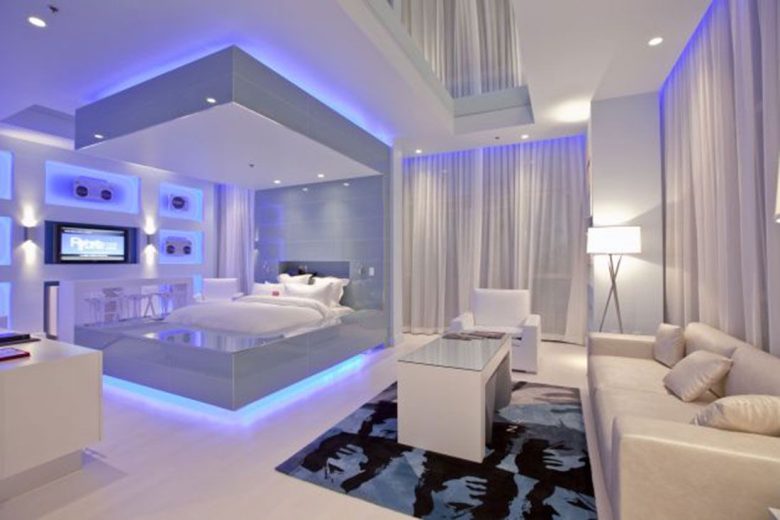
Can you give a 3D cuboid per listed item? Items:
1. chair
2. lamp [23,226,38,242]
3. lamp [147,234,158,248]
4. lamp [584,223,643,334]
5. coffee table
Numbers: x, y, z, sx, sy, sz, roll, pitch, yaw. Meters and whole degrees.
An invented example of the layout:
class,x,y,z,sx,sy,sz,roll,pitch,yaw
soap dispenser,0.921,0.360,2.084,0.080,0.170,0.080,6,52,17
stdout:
class,x,y,z,sx,sy,sz,roll,pitch,yaw
chair,1.356,0.781,6.286,1.309,1.135,0.922,-2,-7,26
lamp,-4.876,-0.362,6.564,0.224,0.220,0.164,3,5,44
lamp,-3.827,-0.307,7.805,0.169,0.217,0.223,1,1,-30
lamp,2.605,0.222,5.585,0.537,1.176,0.653,-1,0,27
coffee table,0.557,1.019,4.429,0.795,0.701,1.502,0,-2,29
